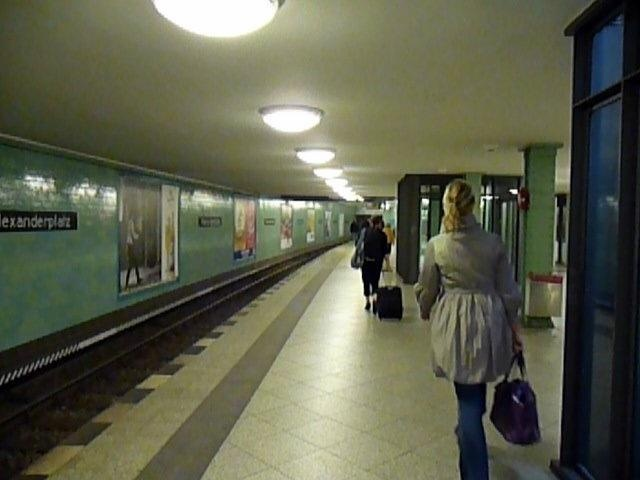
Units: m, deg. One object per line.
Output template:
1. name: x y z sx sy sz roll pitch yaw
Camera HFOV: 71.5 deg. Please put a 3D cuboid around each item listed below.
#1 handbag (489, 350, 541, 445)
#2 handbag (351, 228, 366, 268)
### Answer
1. handbag: 1.456 1.108 3.356 0.289 0.787 0.437 -15 22 -8
2. handbag: 0.729 0.192 8.233 0.268 0.795 0.988 -1 5 5
